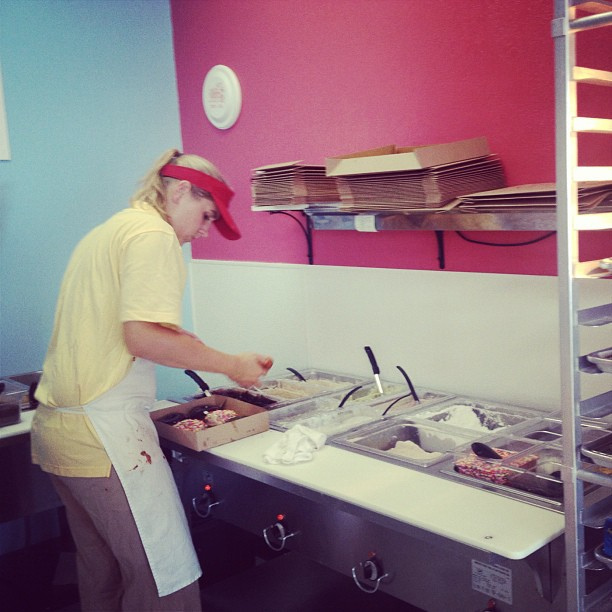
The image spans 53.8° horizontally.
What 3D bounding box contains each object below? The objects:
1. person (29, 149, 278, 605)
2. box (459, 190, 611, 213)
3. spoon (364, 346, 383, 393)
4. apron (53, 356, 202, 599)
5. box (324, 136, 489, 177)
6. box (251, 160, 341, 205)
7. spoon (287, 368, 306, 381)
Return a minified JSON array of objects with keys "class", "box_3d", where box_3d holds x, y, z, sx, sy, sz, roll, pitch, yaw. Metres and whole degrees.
[{"class":"person","box_3d":[-0.433,0.224,1.655,0.657,1.318,0.354,-8,9,-15]},{"class":"box","box_3d":[0.591,-0.261,1.548,0.151,0.048,0.553,-5,7,-12]},{"class":"spoon","box_3d":[0.276,0.255,2.448,0.030,0.208,0.036,-19,16,11]},{"class":"apron","box_3d":[-0.476,0.447,1.598,0.289,0.633,0.214,-9,10,-20]},{"class":"box","box_3d":[0.341,-0.504,2.032,0.347,0.125,0.461,-10,9,-42]},{"class":"box","box_3d":[-0.059,-0.465,2.309,0.244,0.087,0.281,3,6,36]},{"class":"spoon","box_3d":[-0.043,0.305,2.750,0.066,0.050,0.133,-5,7,-7]}]
